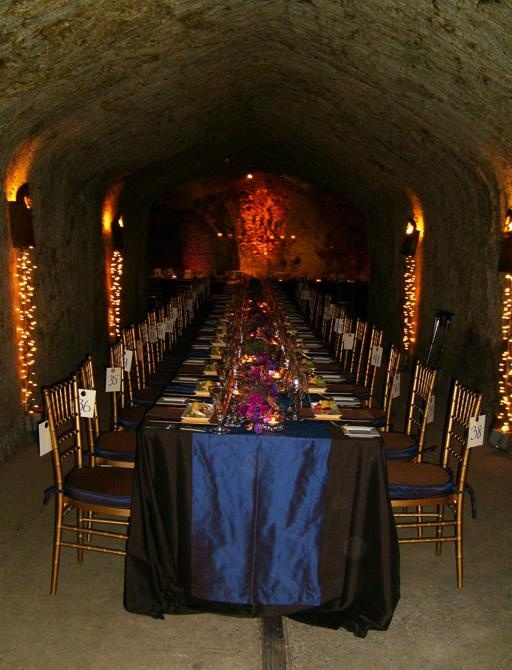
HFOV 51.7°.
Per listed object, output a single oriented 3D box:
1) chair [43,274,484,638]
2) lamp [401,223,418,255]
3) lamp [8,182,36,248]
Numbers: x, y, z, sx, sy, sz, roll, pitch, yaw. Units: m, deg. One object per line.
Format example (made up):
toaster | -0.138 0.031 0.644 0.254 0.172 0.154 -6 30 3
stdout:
chair | 0.069 0.668 3.447 1.922 0.882 3.259 1 11 3
lamp | 2.706 -1.700 9.253 0.179 0.625 0.729 2 0 7
lamp | -2.295 -1.186 5.178 0.168 0.696 0.597 1 1 -15
